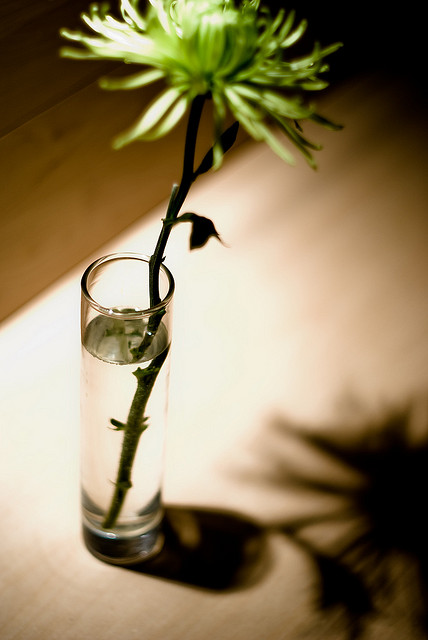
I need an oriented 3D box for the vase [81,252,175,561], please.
[{"bbox_3d":[-0.061,0.068,0.399,0.065,0.253,0.084,-6,43,-18],"label":"vase"}]
